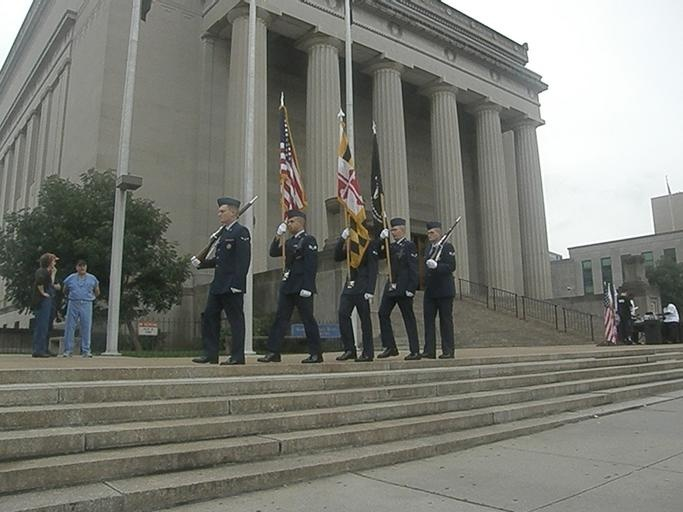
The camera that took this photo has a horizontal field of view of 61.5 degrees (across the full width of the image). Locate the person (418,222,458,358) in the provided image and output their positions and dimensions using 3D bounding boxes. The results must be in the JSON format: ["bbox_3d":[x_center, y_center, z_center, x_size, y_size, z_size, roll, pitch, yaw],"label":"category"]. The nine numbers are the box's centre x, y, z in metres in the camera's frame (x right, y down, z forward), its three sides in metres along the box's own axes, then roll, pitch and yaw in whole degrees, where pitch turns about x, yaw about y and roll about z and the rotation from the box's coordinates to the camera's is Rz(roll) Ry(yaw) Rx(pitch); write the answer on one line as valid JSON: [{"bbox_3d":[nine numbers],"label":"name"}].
[{"bbox_3d":[1.934,0.619,11.525,0.720,2.788,1.142,-2,-8,10],"label":"person"}]

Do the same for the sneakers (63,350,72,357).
[{"bbox_3d":[-6.190,2.211,12.953,0.089,0.116,0.244,2,-3,4],"label":"sneakers"}]

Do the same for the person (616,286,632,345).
[{"bbox_3d":[10.764,2.390,21.778,0.472,1.838,1.109,-5,-9,28],"label":"person"}]

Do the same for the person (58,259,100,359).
[{"bbox_3d":[-5.984,1.161,13.092,0.705,2.203,1.502,3,-9,-26],"label":"person"}]

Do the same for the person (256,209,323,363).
[{"bbox_3d":[-0.842,0.458,10.055,0.950,2.762,1.068,-1,-8,-3],"label":"person"}]

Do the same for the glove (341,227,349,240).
[{"bbox_3d":[0.075,-0.434,10.940,0.134,0.188,0.186,4,-15,-6],"label":"glove"}]

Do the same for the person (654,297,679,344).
[{"bbox_3d":[13.110,2.661,22.834,0.699,1.531,2.039,-6,-9,29],"label":"person"}]

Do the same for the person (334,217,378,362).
[{"bbox_3d":[0.285,0.651,10.797,0.783,2.578,0.877,-1,-8,-1],"label":"person"}]

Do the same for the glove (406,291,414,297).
[{"bbox_3d":[1.301,0.727,10.962,0.130,0.123,0.210,-1,-8,-3],"label":"glove"}]

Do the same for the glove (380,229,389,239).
[{"bbox_3d":[0.830,-0.449,11.187,0.160,0.249,0.475,-2,-8,4],"label":"glove"}]

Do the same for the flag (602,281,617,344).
[{"bbox_3d":[9.582,2.016,20.468,0.393,2.209,2.380,-5,-9,26],"label":"flag"}]

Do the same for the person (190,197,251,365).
[{"bbox_3d":[-1.916,0.364,9.357,0.857,2.738,1.023,1,-8,-15],"label":"person"}]

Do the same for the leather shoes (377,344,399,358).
[{"bbox_3d":[0.870,1.903,11.514,0.532,0.292,0.208,-6,-8,-2],"label":"leather shoes"}]

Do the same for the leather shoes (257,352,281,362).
[{"bbox_3d":[-1.266,1.751,9.824,0.414,0.211,0.162,10,-16,-21],"label":"leather shoes"}]

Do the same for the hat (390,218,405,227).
[{"bbox_3d":[1.109,-0.639,11.149,0.272,0.167,0.218,1,-8,-13],"label":"hat"}]

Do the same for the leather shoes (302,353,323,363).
[{"bbox_3d":[-0.516,1.789,9.912,0.369,0.177,0.164,11,-19,-29],"label":"leather shoes"}]

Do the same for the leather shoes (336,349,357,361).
[{"bbox_3d":[0.060,1.851,10.703,0.431,0.227,0.182,3,-11,-5],"label":"leather shoes"}]

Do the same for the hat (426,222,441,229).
[{"bbox_3d":[1.948,-0.639,12.117,0.269,0.172,0.367,-4,-6,14],"label":"hat"}]

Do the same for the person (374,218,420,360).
[{"bbox_3d":[1.100,0.573,11.311,0.848,2.850,1.381,-2,-8,7],"label":"person"}]
